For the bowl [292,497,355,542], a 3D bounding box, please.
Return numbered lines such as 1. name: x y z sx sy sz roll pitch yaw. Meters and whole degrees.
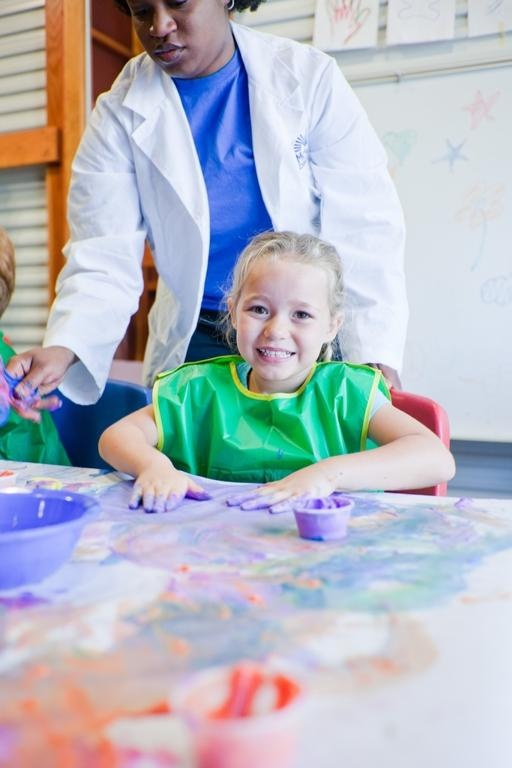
1. bowl: 0.056 0.123 0.620 0.040 0.020 0.038 -6 6 1
